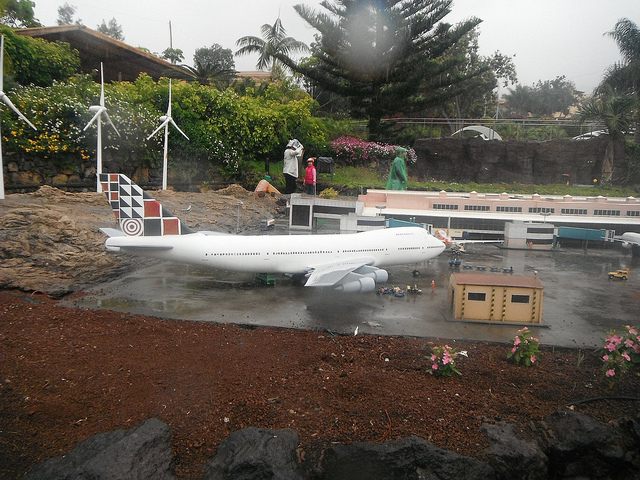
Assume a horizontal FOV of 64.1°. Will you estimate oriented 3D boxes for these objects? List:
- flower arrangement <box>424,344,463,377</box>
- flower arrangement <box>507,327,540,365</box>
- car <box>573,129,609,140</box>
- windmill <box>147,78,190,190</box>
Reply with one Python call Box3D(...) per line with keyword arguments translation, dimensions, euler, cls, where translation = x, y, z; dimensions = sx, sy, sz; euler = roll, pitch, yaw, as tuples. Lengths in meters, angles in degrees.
Box3D(translation=(4.830, 4.740, 19.052), dimensions=(1.257, 0.797, 1.253), euler=(-23, -13, 5), cls="flower arrangement")
Box3D(translation=(8.036, 4.150, 20.260), dimensions=(1.205, 1.211, 1.311), euler=(-8, 8, -1), cls="flower arrangement")
Box3D(translation=(29.886, -11.581, 56.308), dimensions=(2.498, 1.030, 5.353), euler=(9, 15, 24), cls="car")
Box3D(translation=(-14.409, -9.859, 48.105), dimensions=(3.362, 17.248, 8.359), euler=(-2, 12, -19), cls="windmill")
